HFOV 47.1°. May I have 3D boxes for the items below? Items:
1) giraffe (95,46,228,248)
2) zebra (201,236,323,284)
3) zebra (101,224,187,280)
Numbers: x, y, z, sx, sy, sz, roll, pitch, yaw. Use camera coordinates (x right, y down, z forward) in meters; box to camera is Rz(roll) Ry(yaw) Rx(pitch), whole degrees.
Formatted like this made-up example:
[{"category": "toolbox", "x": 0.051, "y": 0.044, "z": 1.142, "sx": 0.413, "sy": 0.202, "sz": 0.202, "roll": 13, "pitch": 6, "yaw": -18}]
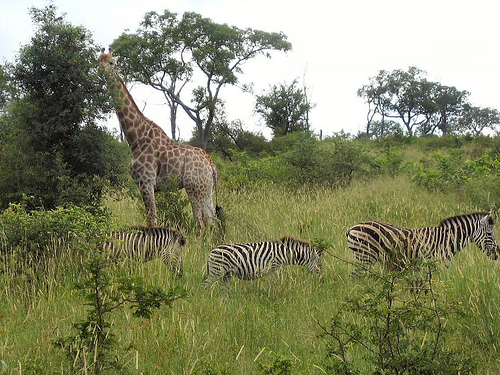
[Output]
[{"category": "giraffe", "x": -2.310, "y": -0.856, "z": 14.067, "sx": 3.188, "sy": 4.932, "sz": 1.124, "roll": -2, "pitch": 10, "yaw": -10}, {"category": "zebra", "x": 0.194, "y": 1.313, "z": 10.616, "sx": 2.031, "sy": 1.344, "sz": 1.321, "roll": -2, "pitch": 2, "yaw": 7}, {"category": "zebra", "x": -2.218, "y": 1.372, "z": 11.179, "sx": 0.522, "sy": 1.273, "sz": 2.271, "roll": 6, "pitch": -1, "yaw": 41}]
